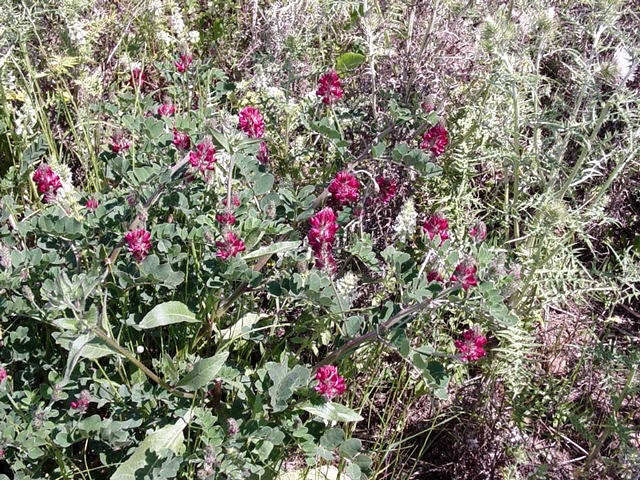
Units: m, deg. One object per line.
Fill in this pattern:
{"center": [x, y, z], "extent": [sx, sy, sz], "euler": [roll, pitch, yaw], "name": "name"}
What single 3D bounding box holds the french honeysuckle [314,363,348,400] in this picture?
{"center": [0.032, 0.452, 1.764], "extent": [0.088, 0.107, 0.051], "euler": [4, -6, 1], "name": "french honeysuckle"}
